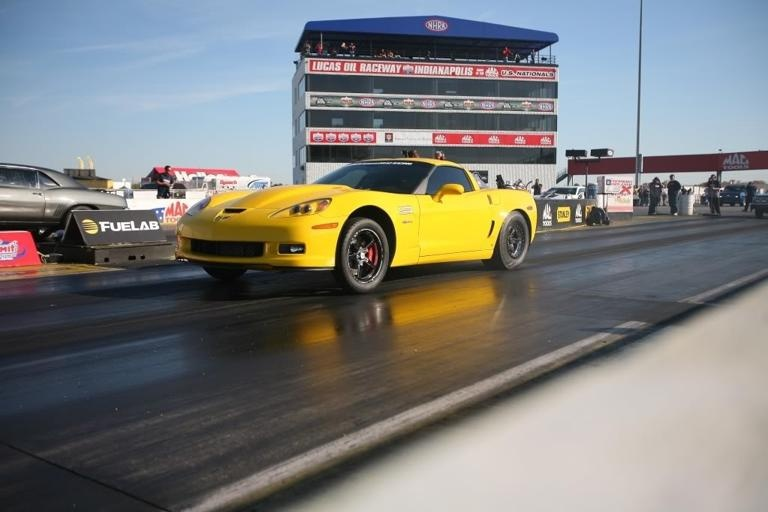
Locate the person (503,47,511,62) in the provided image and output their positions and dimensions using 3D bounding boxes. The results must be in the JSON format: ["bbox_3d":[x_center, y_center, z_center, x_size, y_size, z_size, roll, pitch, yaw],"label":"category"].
[{"bbox_3d":[14.934,-24.302,57.383,1.124,1.567,0.454,-10,14,-32],"label":"person"}]

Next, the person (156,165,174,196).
[{"bbox_3d":[-10.368,-3.457,22.383,0.787,1.468,2.984,-8,13,-23],"label":"person"}]

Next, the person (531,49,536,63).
[{"bbox_3d":[18.324,-24.392,58.171,0.543,1.500,0.884,-1,12,7],"label":"person"}]

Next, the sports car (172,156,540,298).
[{"bbox_3d":[-0.105,-0.404,7.274,5.374,2.072,1.492,-9,14,-30],"label":"sports car"}]

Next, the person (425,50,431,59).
[{"bbox_3d":[5.150,-23.568,55.647,0.720,1.205,1.584,-1,12,6],"label":"person"}]
